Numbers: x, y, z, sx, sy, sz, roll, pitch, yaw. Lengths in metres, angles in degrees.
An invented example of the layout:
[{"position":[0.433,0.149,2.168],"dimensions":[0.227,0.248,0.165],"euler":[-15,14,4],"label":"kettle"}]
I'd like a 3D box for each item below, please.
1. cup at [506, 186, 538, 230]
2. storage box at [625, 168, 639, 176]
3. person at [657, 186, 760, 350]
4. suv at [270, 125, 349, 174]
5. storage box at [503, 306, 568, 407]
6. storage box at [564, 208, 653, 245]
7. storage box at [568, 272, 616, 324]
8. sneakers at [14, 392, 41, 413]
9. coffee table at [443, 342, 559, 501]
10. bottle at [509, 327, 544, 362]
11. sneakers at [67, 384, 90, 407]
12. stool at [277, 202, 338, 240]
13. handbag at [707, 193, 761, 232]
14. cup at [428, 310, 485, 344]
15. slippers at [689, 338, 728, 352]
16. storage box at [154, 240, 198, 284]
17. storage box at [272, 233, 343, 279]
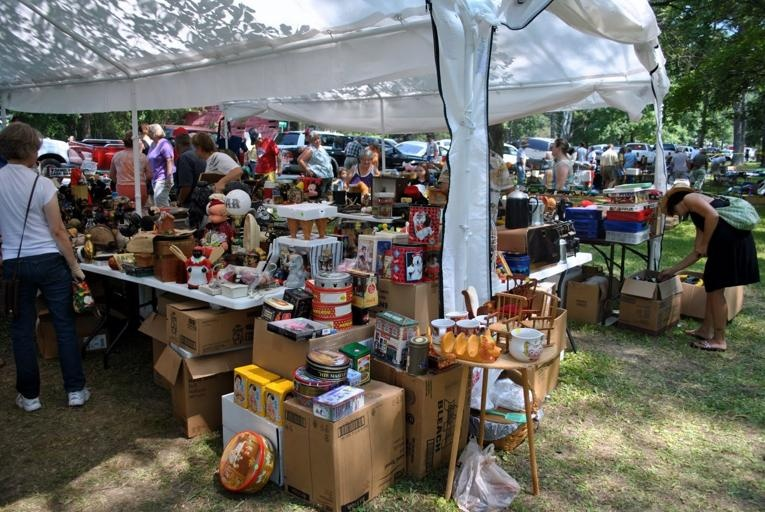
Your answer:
[{"position":[1.665,-0.505,5.955],"dimensions":[0.277,0.485,0.470],"euler":[2,3,35],"label":"cup"},{"position":[4.732,-1.603,10.050],"dimensions":[0.294,0.093,0.267],"euler":[-4,7,-38],"label":"storage box"},{"position":[3.670,0.156,5.939],"dimensions":[0.960,1.847,0.478],"euler":[2,7,25],"label":"person"},{"position":[-2.268,-3.264,15.949],"dimensions":[1.449,1.266,2.873],"euler":[14,21,42],"label":"suv"},{"position":[1.182,0.800,4.155],"dimensions":[0.471,0.776,0.822],"euler":[7,21,27],"label":"storage box"},{"position":[2.752,-0.385,6.573],"dimensions":[0.649,0.216,0.655],"euler":[7,15,35],"label":"storage box"},{"position":[2.661,0.471,6.979],"dimensions":[0.606,0.625,0.917],"euler":[9,13,40],"label":"storage box"},{"position":[-3.318,1.357,4.889],"dimensions":[0.262,0.123,0.108],"euler":[10,13,32],"label":"sneakers"},{"position":[0.855,1.231,4.226],"dimensions":[1.025,1.216,1.128],"euler":[0,-1,22],"label":"coffee table"},{"position":[0.998,0.624,3.697],"dimensions":[0.186,0.161,0.243],"euler":[2,3,23],"label":"bottle"},{"position":[-2.871,1.318,4.947],"dimensions":[0.102,0.120,0.263],"euler":[-1,12,-4],"label":"sneakers"},{"position":[-0.673,-0.337,4.777],"dimensions":[0.401,0.253,0.404],"euler":[1,2,41],"label":"stool"},{"position":[3.907,-0.465,5.849],"dimensions":[0.464,0.382,0.399],"euler":[1,7,20],"label":"handbag"},{"position":[0.527,0.528,3.887],"dimensions":[0.335,0.122,0.219],"euler":[-4,6,21],"label":"cup"},{"position":[3.690,1.028,5.972],"dimensions":[0.299,0.104,0.155],"euler":[4,4,30],"label":"slippers"},{"position":[-1.925,0.016,4.816],"dimensions":[0.470,0.450,0.346],"euler":[-4,9,-43],"label":"storage box"},{"position":[-0.677,-0.095,4.755],"dimensions":[0.507,0.324,0.377],"euler":[11,17,42],"label":"storage box"}]
